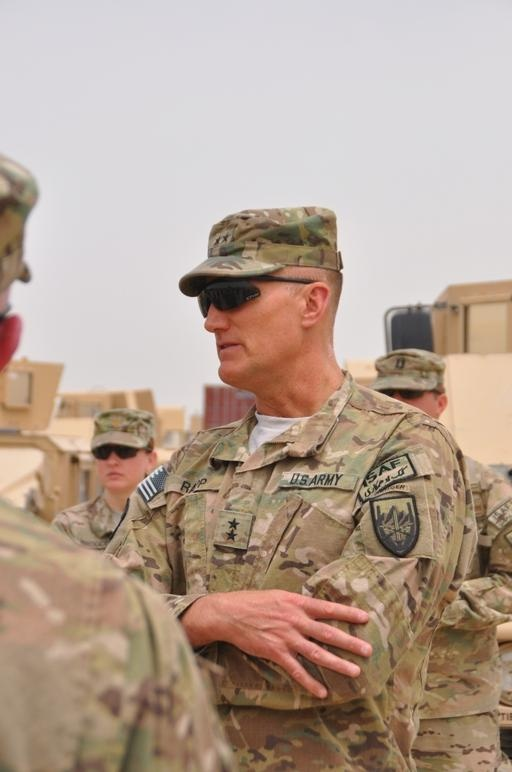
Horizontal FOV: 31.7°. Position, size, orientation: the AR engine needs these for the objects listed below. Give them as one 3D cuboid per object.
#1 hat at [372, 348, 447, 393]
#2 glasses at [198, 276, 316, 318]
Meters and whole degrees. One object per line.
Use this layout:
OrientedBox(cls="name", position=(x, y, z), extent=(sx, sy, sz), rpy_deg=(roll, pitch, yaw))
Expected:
OrientedBox(cls="hat", position=(0.870, -0.064, 5.121), extent=(0.320, 0.142, 0.421), rpy_deg=(0, -1, 13))
OrientedBox(cls="glasses", position=(-0.002, -0.249, 2.519), extent=(0.284, 0.066, 0.241), rpy_deg=(-4, -5, -39))
